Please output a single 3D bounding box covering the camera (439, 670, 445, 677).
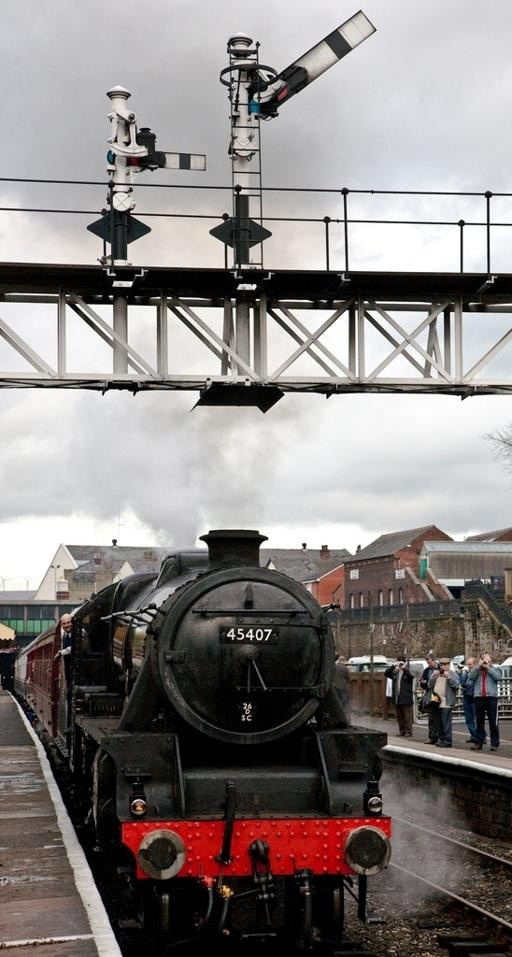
[{"bbox_3d":[2.313,2.436,14.895,0.040,0.076,0.030,-2,-3,19],"label":"camera"}]

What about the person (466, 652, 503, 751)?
[{"bbox_3d":[2.828,2.797,14.867,0.375,1.110,0.781,-5,-2,10],"label":"person"}]

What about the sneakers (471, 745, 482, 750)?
[{"bbox_3d":[2.748,3.395,14.982,0.190,0.104,0.059,14,-15,-40],"label":"sneakers"}]

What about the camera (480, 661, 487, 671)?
[{"bbox_3d":[2.771,2.286,14.567,0.062,0.085,0.021,0,-2,-19],"label":"camera"}]

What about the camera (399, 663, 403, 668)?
[{"bbox_3d":[1.994,2.592,16.544,0.020,0.075,0.051,4,-1,33],"label":"camera"}]

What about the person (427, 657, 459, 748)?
[{"bbox_3d":[2.342,2.842,15.096,0.384,1.006,0.725,-5,-2,8],"label":"person"}]
